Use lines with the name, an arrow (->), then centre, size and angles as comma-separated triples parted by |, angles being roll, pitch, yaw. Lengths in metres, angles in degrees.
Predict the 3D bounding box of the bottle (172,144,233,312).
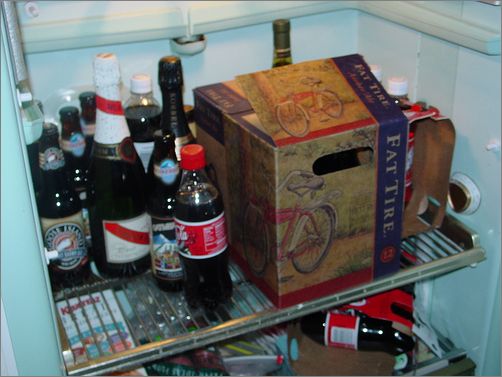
bottle -> -0.105, 0.115, 0.980 | 0.107, 0.320, 0.070 | -8, 14, -9

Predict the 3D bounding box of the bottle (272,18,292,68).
bottle -> 0.073, -0.358, 1.124 | 0.049, 0.113, 0.144 | -5, 15, 5

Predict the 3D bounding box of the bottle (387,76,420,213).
bottle -> 0.375, -0.117, 1.130 | 0.069, 0.307, 0.187 | -2, 15, 17

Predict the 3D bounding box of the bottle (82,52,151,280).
bottle -> -0.316, -0.039, 1.045 | 0.148, 0.503, 0.106 | -12, 15, -21

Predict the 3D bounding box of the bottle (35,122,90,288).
bottle -> -0.439, 0.043, 1.040 | 0.097, 0.378, 0.060 | -12, 15, -23
